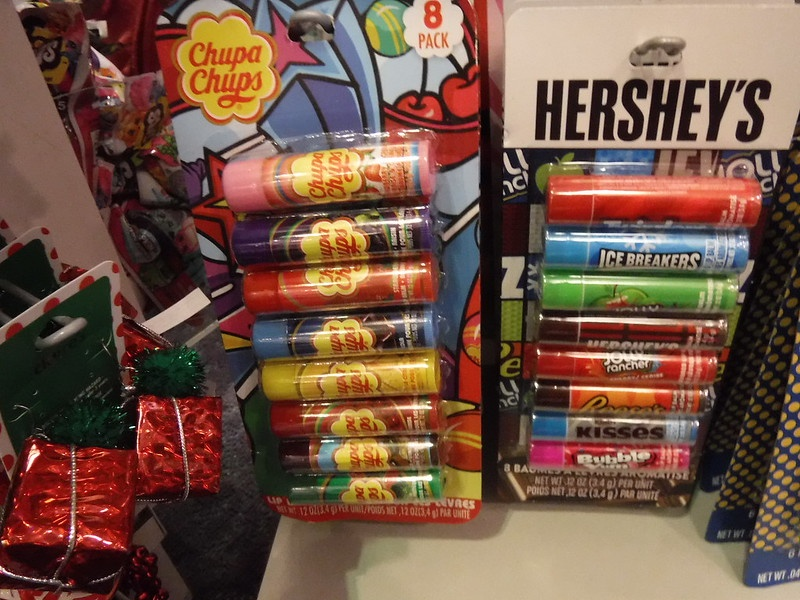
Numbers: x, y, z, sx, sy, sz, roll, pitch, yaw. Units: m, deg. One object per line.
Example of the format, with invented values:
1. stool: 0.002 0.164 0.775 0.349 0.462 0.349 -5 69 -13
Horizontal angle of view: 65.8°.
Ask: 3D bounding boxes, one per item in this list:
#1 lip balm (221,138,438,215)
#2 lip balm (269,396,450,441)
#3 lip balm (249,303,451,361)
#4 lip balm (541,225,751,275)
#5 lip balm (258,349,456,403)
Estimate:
1. lip balm: -0.130 -0.204 1.173 0.472 0.155 0.149 -2 -3 14
2. lip balm: -0.086 0.236 1.251 0.330 0.094 0.094 -1 9 -2
3. lip balm: -0.104 0.065 1.225 0.454 0.136 0.127 -1 5 10
4. lip balm: 0.454 -0.096 1.163 0.338 0.088 0.095 0 45 10
5. lip balm: -0.090 0.149 1.244 0.432 0.137 0.125 0 2 11
